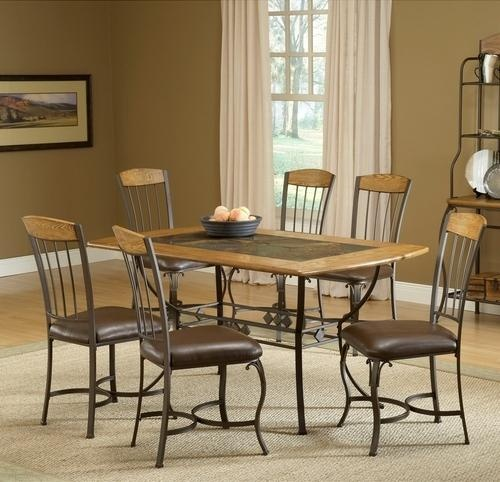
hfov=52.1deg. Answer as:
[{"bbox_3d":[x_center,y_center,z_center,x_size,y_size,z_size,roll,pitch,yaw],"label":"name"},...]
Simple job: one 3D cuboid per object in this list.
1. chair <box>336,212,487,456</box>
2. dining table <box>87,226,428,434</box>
[{"bbox_3d":[0.626,0.351,2.062,0.606,0.773,0.499,-4,1,-19],"label":"chair"},{"bbox_3d":[0.013,0.272,2.454,1.260,0.502,0.764,7,11,39],"label":"dining table"}]
